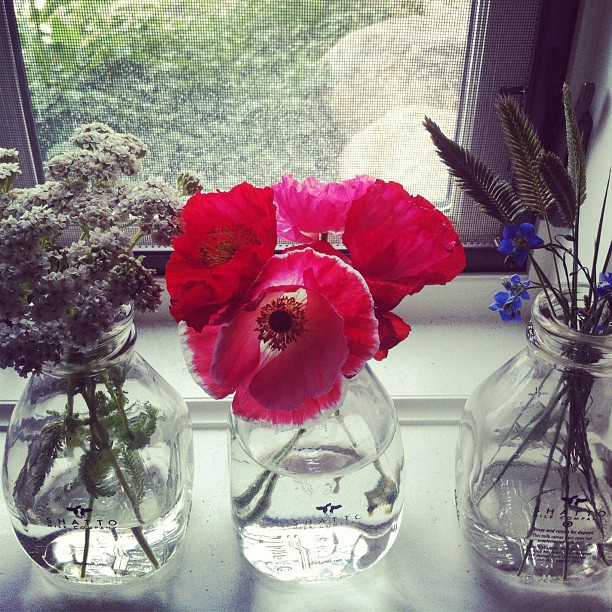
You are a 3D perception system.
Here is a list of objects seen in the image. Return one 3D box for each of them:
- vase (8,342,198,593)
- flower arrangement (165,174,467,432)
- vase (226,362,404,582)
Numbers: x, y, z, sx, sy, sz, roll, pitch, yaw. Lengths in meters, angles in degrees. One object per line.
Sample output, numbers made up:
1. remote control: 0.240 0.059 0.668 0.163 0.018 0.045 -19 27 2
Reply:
1. vase: -0.200 0.149 0.619 0.182 0.273 0.112 -12 40 -12
2. flower arrangement: 0.005 -0.016 0.498 0.154 0.156 0.202 29 47 33
3. vase: 0.011 0.154 0.644 0.158 0.232 0.127 -8 31 -8
